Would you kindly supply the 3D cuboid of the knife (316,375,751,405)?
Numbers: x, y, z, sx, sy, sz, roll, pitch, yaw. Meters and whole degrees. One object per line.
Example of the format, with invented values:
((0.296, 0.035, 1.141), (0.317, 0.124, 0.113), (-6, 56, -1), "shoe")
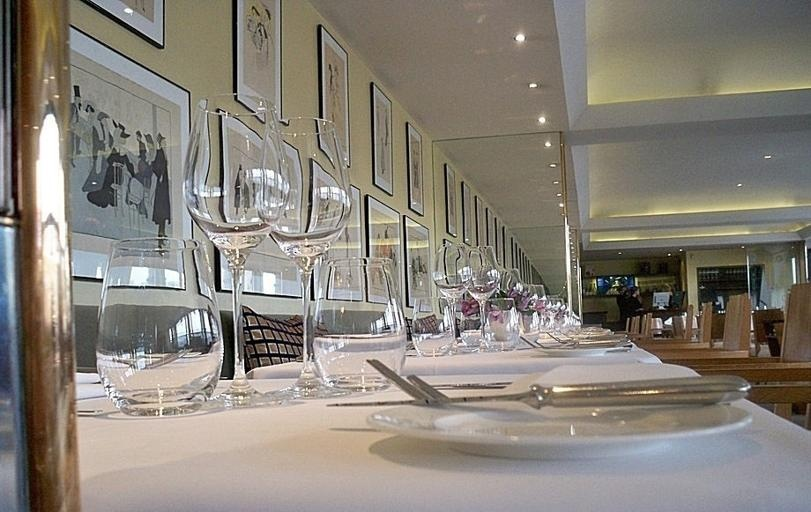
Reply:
((0.096, 0.105, 0.491), (0.305, 0.028, 0.045), (-2, -7, 7), "knife")

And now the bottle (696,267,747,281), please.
((8.138, 0.432, 15.875), (1.115, 0.415, 0.245), (-7, -8, 30), "bottle")

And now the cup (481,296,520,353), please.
((0.212, 0.134, 1.276), (0.089, 0.134, 0.094), (-2, -4, 0), "cup")

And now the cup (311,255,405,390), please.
((-0.042, 0.079, 0.688), (0.113, 0.164, 0.117), (-2, -11, 0), "cup")
